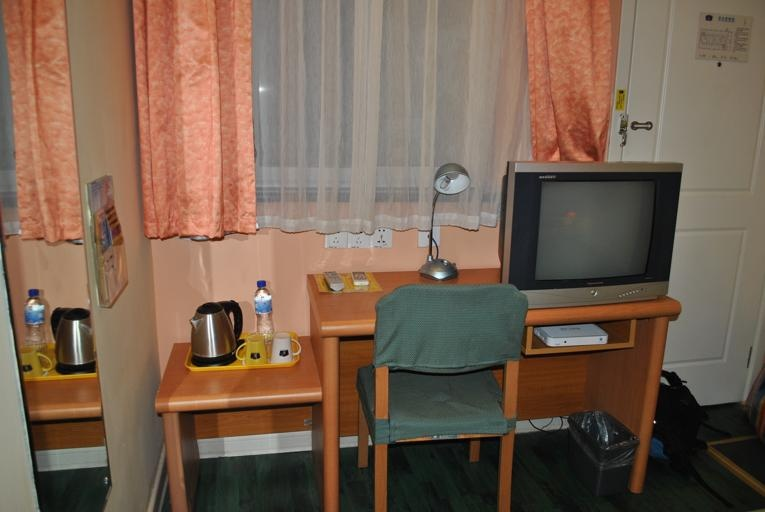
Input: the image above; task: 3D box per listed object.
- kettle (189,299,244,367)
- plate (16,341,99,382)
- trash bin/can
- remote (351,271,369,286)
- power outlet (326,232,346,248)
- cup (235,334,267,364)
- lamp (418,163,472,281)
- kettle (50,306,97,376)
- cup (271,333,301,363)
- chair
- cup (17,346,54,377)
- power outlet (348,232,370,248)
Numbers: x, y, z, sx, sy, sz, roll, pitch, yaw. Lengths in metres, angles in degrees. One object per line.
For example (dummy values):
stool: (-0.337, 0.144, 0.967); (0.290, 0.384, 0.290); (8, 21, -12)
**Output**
kettle: (-0.752, 0.343, 2.666); (0.225, 0.284, 0.285); (6, 7, 44)
plate: (-0.905, 0.289, 1.595); (0.163, 0.056, 0.202); (0, 5, -30)
trash bin/can: (1.045, 0.947, 2.917); (0.318, 0.322, 0.434); (-2, 10, -7)
remote: (-0.108, 0.113, 2.753); (0.054, 0.023, 0.097); (0, 20, 0)
power outlet: (-0.237, -0.081, 2.907); (0.122, 0.088, 0.071); (1, 12, -2)
cup: (-0.584, 0.426, 2.652); (0.154, 0.133, 0.099); (-2, 9, -26)
lamp: (0.307, -0.177, 2.847); (0.242, 0.565, 0.260); (2, 15, 16)
kettle: (-0.900, 0.247, 1.706); (0.168, 0.170, 0.109); (10, 12, 33)
cup: (-0.449, 0.423, 2.629); (0.151, 0.130, 0.097); (2, 0, -20)
chair: (0.250, 0.635, 2.516); (0.678, 1.167, 0.338); (-3, 14, -5)
cup: (-0.904, 0.275, 1.509); (0.074, 0.053, 0.040); (14, -6, -42)
power outlet: (-0.115, -0.080, 2.952); (0.126, 0.122, 0.067); (2, 14, -2)
